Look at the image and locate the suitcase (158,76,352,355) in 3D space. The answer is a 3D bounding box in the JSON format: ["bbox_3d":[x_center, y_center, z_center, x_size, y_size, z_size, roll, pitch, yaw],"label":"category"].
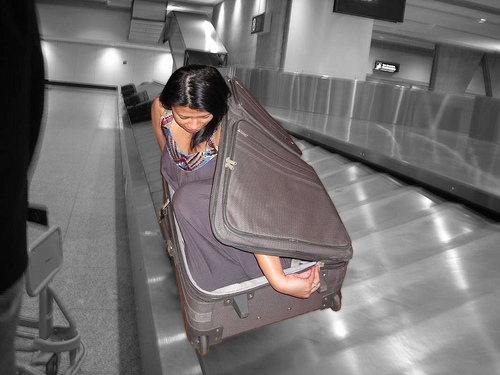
[{"bbox_3d":[-0.041,0.092,1.297,0.656,0.683,0.890,-8,27,-17],"label":"suitcase"}]

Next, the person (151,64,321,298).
[{"bbox_3d":[-0.114,-0.023,1.101,0.525,0.330,0.949,-10,66,-32],"label":"person"}]
